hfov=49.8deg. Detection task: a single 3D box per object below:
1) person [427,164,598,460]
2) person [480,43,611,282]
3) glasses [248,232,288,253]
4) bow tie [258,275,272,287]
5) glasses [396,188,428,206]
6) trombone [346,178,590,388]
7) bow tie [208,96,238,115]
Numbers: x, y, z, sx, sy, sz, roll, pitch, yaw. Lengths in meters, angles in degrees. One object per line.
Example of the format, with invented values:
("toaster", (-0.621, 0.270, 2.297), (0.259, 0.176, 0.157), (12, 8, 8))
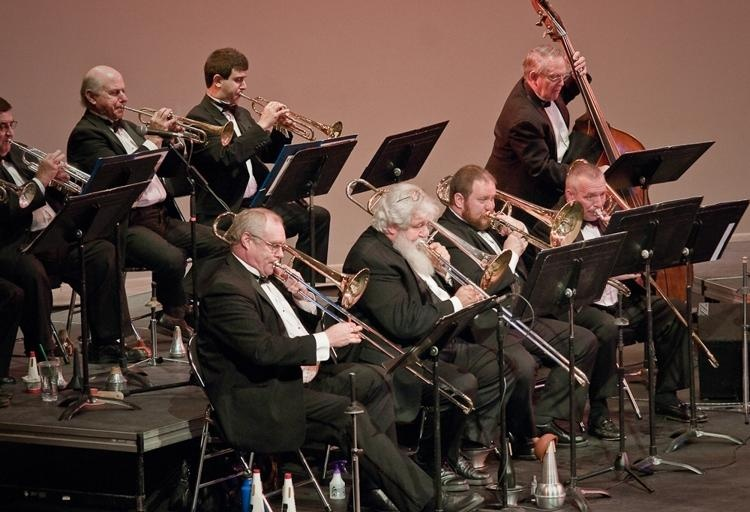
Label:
("person", (1.430, -0.694, 6.995), (0.929, 2.182, 0.782), (-12, 31, -8))
("person", (1.439, -0.851, 6.963), (0.958, 1.771, 0.991), (-8, 21, -34))
("glasses", (-0.604, -0.083, 4.614), (0.124, 0.036, 0.124), (32, 5, 17))
("bow tie", (-0.629, 0.139, 4.684), (0.058, 0.023, 0.056), (-3, 15, 0))
("glasses", (0.240, -0.377, 5.090), (0.197, 0.081, 0.054), (1, -14, -18))
("trombone", (0.605, 0.207, 5.150), (2.119, 0.428, 0.358), (36, 23, 18))
("bow tie", (-1.199, -1.216, 6.462), (0.140, 0.059, 0.122), (35, 34, -3))
